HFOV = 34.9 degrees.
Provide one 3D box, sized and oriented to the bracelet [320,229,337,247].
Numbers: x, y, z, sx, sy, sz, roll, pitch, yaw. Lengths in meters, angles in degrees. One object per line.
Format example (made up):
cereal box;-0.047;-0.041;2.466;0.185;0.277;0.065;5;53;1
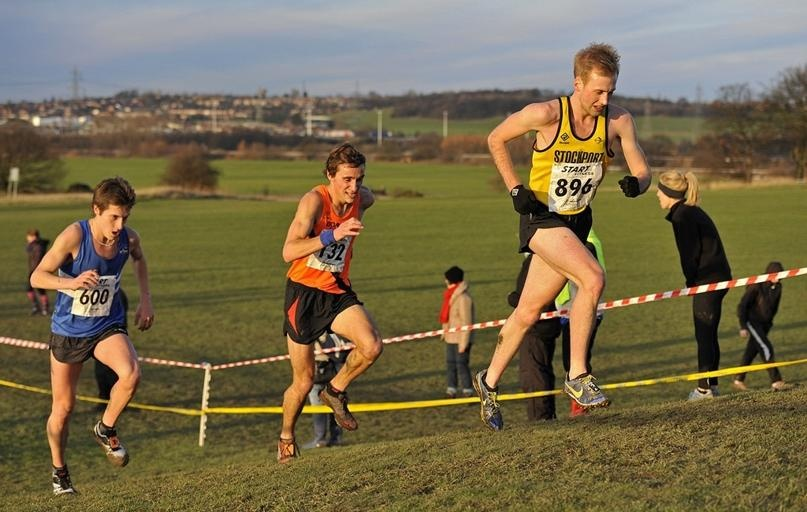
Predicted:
bracelet;-1.071;-0.248;18.530;0.185;0.238;0.251;-7;11;-31

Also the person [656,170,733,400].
person;4.605;0.466;20.122;0.956;3.437;1.258;-3;9;-5

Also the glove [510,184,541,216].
glove;1.776;-0.777;18.354;0.469;0.449;0.308;-1;9;5

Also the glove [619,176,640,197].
glove;3.254;-0.979;18.410;0.301;0.298;0.219;0;9;8

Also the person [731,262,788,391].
person;5.977;1.203;21.551;0.847;2.181;1.094;1;10;15

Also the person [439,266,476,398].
person;0.940;1.319;22.230;0.591;2.242;1.432;-1;9;2
